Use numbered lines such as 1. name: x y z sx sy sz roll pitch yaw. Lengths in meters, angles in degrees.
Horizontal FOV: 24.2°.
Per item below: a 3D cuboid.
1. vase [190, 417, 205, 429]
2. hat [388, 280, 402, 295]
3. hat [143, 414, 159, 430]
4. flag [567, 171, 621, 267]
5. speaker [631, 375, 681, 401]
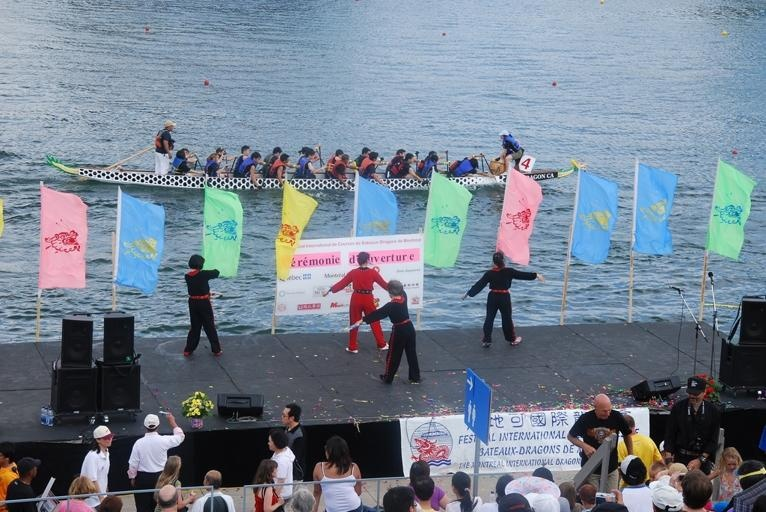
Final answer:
1. vase: -8.349 7.395 79.445 0.571 0.343 0.506 1 1 14
2. hat: 0.441 1.425 81.911 0.600 0.648 0.657 2 50 -5
3. hat: -10.202 7.163 78.305 0.592 0.661 0.691 3 33 -3
4. flag: 9.931 -1.895 84.973 2.200 4.470 0.756 -3 10 5
5. speaker: 12.288 5.986 81.165 1.870 0.733 1.217 -6 2 -30
